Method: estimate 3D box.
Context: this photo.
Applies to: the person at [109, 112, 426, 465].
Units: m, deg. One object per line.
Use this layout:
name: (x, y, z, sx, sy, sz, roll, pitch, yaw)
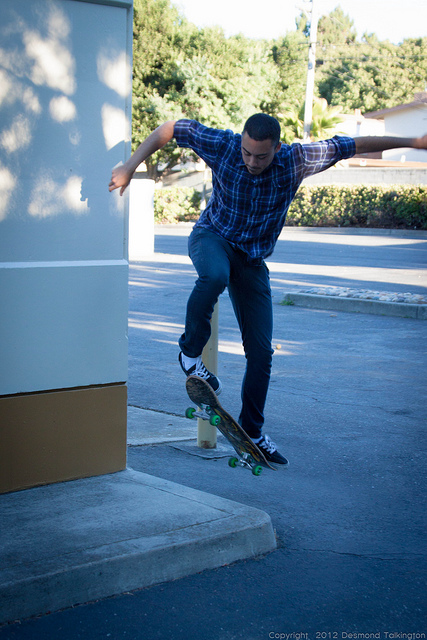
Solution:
person: (0.141, -0.158, 3.320, 1.566, 2.026, 0.557, 7, 8, -11)
